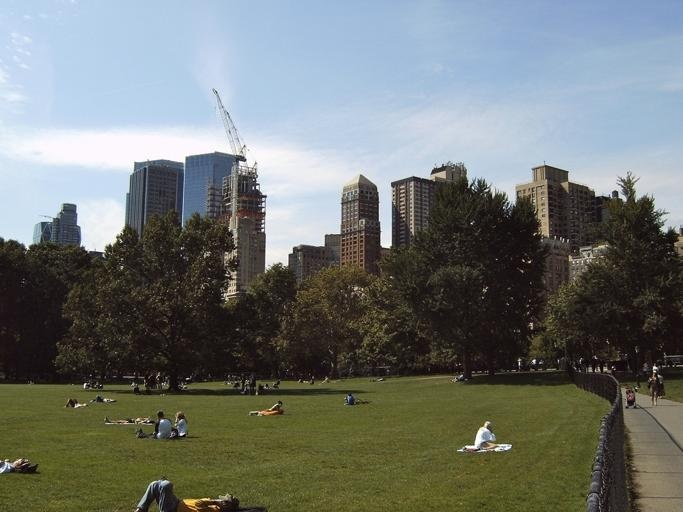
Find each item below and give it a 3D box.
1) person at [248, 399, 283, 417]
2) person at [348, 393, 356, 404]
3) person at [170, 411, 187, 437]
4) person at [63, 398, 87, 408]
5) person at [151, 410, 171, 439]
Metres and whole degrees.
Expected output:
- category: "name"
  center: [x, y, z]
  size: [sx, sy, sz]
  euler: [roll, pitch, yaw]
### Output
- category: "person"
  center: [-5.103, 10.611, 61.741]
  size: [1.894, 0.836, 1.233]
  euler: [-3, -6, -5]
- category: "person"
  center: [0.749, 10.810, 68.540]
  size: [0.805, 0.927, 0.536]
  euler: [-2, -6, 8]
- category: "person"
  center: [-9.424, 9.847, 52.742]
  size: [0.882, 1.393, 1.116]
  euler: [-1, -6, -11]
- category: "person"
  center: [-19.622, 10.913, 66.281]
  size: [1.402, 0.570, 1.151]
  euler: [3, -8, -4]
- category: "person"
  center: [-10.392, 9.783, 52.424]
  size: [0.991, 1.498, 1.201]
  euler: [1, -6, -27]
